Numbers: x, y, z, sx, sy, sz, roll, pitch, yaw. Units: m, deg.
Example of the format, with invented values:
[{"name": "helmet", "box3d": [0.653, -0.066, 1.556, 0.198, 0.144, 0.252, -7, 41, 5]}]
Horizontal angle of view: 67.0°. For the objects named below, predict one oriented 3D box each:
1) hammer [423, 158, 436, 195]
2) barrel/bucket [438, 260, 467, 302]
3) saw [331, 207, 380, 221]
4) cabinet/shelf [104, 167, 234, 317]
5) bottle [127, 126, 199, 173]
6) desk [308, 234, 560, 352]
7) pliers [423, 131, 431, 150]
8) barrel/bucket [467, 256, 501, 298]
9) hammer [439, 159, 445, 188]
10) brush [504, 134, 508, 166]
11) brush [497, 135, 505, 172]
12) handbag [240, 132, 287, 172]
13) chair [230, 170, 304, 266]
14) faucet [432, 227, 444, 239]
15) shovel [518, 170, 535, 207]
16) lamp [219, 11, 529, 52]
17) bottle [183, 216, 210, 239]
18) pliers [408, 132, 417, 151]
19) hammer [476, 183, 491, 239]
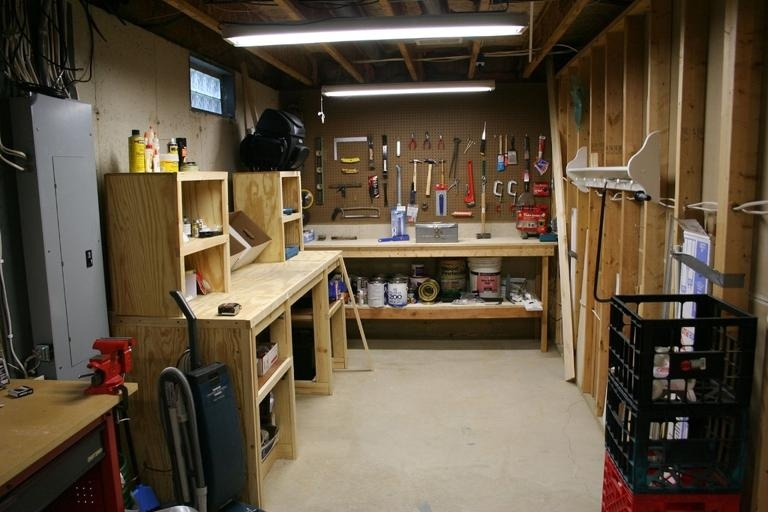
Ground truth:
[{"name": "hammer", "box3d": [0.541, -0.908, 6.758, 0.123, 0.432, 0.073, 0, 6, 1]}, {"name": "barrel/bucket", "box3d": [0.799, 0.265, 6.786, 0.430, 0.490, 0.427, 2, 3, 0]}, {"name": "saw", "box3d": [-0.319, -0.504, 6.899, 0.532, 0.152, 0.023, 1, 6, 6]}, {"name": "cabinet/shelf", "box3d": [-1.497, -0.099, 4.055, 0.528, 0.961, 0.647, 2, 6, 20]}, {"name": "bottle", "box3d": [-1.546, -0.734, 4.037, 0.328, 0.333, 0.504, 1, 6, 12]}, {"name": "desk", "box3d": [0.579, 0.465, 6.750, 2.684, 1.207, 0.841, -1, 0, 11]}, {"name": "pliers", "box3d": [0.498, -1.341, 6.745, 0.087, 0.206, 0.039, 0, 6, -2]}, {"name": "barrel/bucket", "box3d": [1.164, 0.222, 6.672, 0.433, 0.445, 0.446, 0, 4, 0]}, {"name": "hammer", "box3d": [0.682, -0.951, 6.759, 0.072, 0.312, 0.026, 0, 6, 4]}, {"name": "brush", "box3d": [1.417, -1.207, 6.677, 0.041, 0.339, 0.030, 1, 6, 11]}, {"name": "brush", "box3d": [1.347, -1.177, 6.674, 0.098, 0.417, 0.039, 0, 6, -1]}, {"name": "handbag", "box3d": [-1.126, -0.989, 5.521, 0.448, 0.416, 0.320, 2, 14, 0]}, {"name": "chair", "box3d": [-1.085, -0.352, 5.242, 0.338, 0.734, 0.882, -1, 4, 2]}, {"name": "faucet", "box3d": [0.600, -0.263, 6.387, 0.127, 0.121, 0.042, 2, 4, 8]}, {"name": "shovel", "box3d": [1.633, -0.781, 6.671, 0.170, 0.420, 0.157, 1, 6, 10]}, {"name": "lamp", "box3d": [-0.077, -1.537, 3.941, 2.036, 0.131, 0.223, 1, 6, 6]}, {"name": "bottle", "box3d": [-1.339, -0.201, 4.154, 0.115, 0.179, 0.188, 0, 0, 5]}, {"name": "pliers", "box3d": [0.332, -1.341, 6.763, 0.110, 0.202, 0.043, -3, -2, 3]}, {"name": "hammer", "box3d": [1.146, -0.521, 6.655, 0.144, 0.628, 0.289, 1, 6, 10]}]
